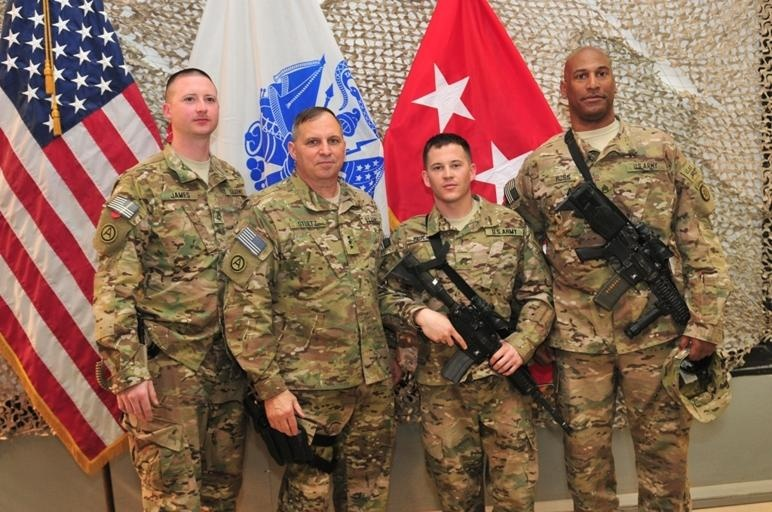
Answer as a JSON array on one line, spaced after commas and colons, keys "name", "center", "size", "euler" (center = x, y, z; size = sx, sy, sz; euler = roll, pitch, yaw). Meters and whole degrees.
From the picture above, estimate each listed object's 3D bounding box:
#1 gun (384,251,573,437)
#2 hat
[{"name": "gun", "center": [0.535, 0.463, 4.438], "size": [0.591, 1.466, 0.176], "euler": [-50, 2, -10]}, {"name": "hat", "center": [1.713, 0.697, 4.459], "size": [0.402, 0.404, 0.387], "euler": [-10, 1, 10]}]
